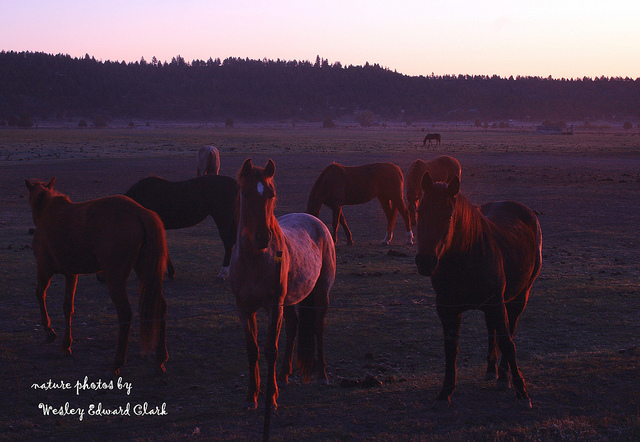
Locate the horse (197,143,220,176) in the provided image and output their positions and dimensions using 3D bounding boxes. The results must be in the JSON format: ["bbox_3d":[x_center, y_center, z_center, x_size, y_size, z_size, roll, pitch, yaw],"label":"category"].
[{"bbox_3d":[-2.982,-1.628,24.160,0.566,0.846,0.841,1,5,-13],"label":"horse"}]

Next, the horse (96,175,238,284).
[{"bbox_3d":[-3.427,0.041,21.907,3.772,2.619,0.938,-5,3,-3],"label":"horse"}]

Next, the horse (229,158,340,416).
[{"bbox_3d":[-0.752,1.190,17.909,2.091,4.819,1.170,-9,12,-43],"label":"horse"}]

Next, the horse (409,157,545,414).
[{"bbox_3d":[3.064,1.251,17.816,2.677,4.567,1.480,-3,9,-14],"label":"horse"}]

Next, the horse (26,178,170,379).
[{"bbox_3d":[-5.141,1.060,19.748,5.530,4.113,1.461,1,0,41],"label":"horse"}]
